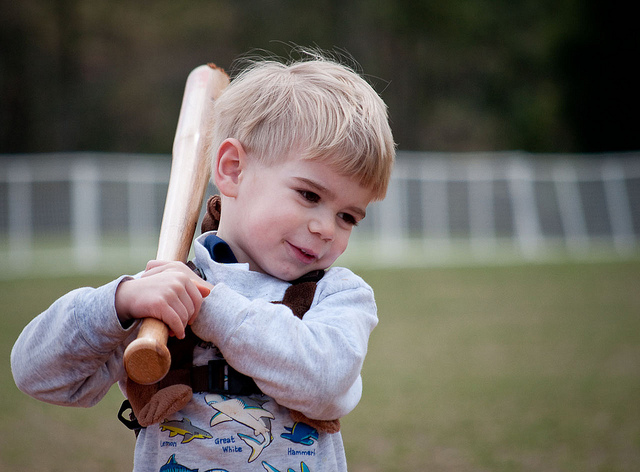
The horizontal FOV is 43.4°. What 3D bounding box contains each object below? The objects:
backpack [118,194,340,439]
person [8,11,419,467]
[{"bbox_3d":[-0.391,0.375,2.828,0.725,0.202,0.687,-25,-10,31],"label":"backpack"},{"bbox_3d":[-0.276,0.090,2.804,1.053,1.094,1.269,18,34,22],"label":"person"}]
